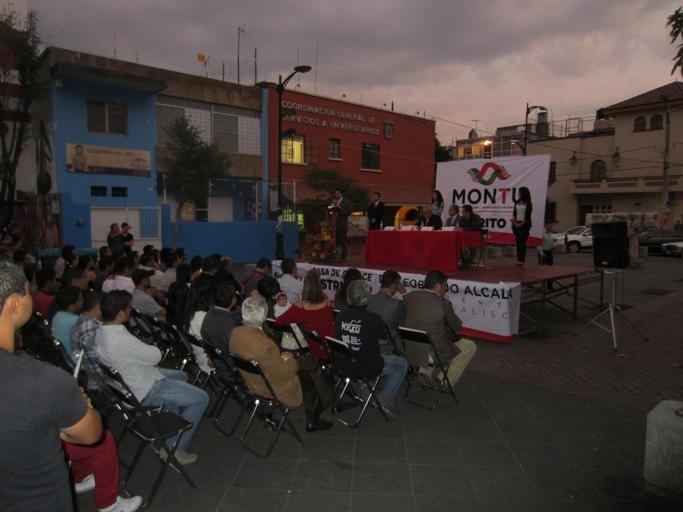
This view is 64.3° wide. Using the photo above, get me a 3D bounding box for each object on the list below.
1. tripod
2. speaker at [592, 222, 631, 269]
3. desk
[{"bbox_3d":[5.834,1.186,11.747,1.037,1.677,1.176,1,-1,-36],"label":"tripod"},{"bbox_3d":[4.716,-0.186,9.500,0.602,0.861,0.349,5,11,31],"label":"speaker"},{"bbox_3d":[1.765,-0.139,12.345,0.788,0.983,2.368,-7,12,-42],"label":"desk"}]
